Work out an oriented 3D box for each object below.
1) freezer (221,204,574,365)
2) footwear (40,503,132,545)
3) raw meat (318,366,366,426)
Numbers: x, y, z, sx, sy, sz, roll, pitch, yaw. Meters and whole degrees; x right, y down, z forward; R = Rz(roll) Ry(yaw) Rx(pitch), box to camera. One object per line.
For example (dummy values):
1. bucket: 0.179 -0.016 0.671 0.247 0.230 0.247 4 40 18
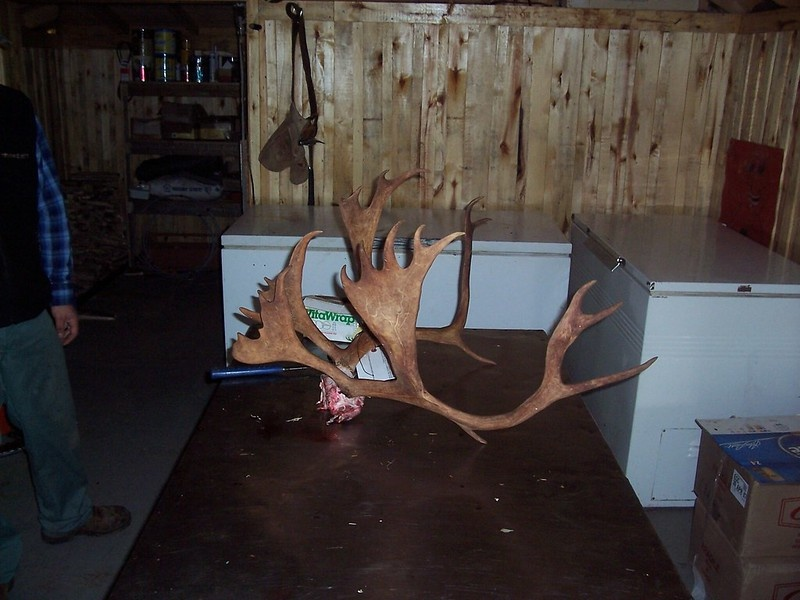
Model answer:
1. freezer: 0.071 -0.122 3.627 1.375 0.969 0.844 2 60 0
2. footwear: -1.281 0.910 2.663 0.327 0.149 0.134 -14 58 -30
3. raw meat: -0.174 0.281 1.906 0.119 0.170 0.062 23 27 15
